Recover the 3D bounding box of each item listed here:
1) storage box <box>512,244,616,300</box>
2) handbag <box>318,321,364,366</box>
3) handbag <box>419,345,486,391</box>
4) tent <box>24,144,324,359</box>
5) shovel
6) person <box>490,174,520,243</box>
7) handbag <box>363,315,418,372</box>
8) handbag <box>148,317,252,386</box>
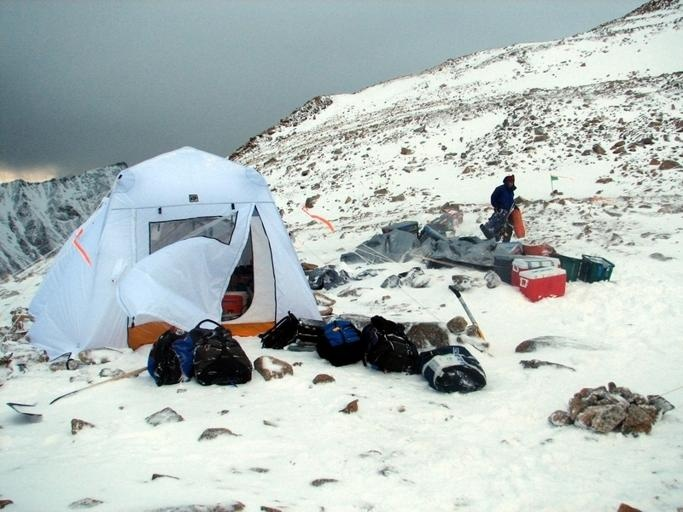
[{"bbox_3d":[4.091,0.381,10.443,1.622,0.998,1.113,-5,0,-4],"label":"storage box"},{"bbox_3d":[0.008,1.304,8.115,0.579,0.670,0.428,-7,-1,-28],"label":"handbag"},{"bbox_3d":[1.487,1.534,7.446,0.849,0.613,0.556,-6,0,16],"label":"handbag"},{"bbox_3d":[-3.288,-0.194,9.704,4.963,1.919,4.346,-3,6,-30],"label":"tent"},{"bbox_3d":[-3.297,1.732,6.886,1.463,0.153,0.184,-9,38,-29],"label":"shovel"},{"bbox_3d":[3.912,-1.146,13.293,0.654,1.627,0.503,-9,-1,13],"label":"person"},{"bbox_3d":[0.680,1.300,7.973,0.776,0.827,0.401,-7,-1,0],"label":"handbag"},{"bbox_3d":[-1.898,1.330,7.341,1.513,0.400,0.881,2,5,-15],"label":"handbag"}]
